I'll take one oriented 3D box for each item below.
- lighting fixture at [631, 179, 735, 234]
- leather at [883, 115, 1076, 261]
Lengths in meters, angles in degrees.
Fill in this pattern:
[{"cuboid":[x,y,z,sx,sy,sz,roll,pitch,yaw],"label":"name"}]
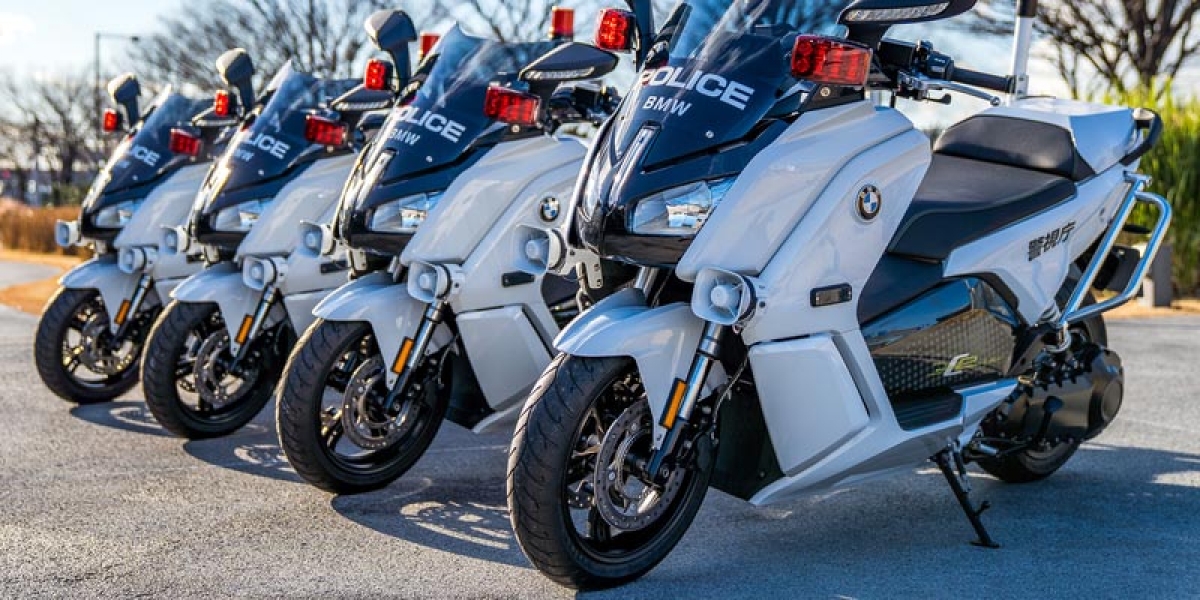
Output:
[{"cuboid":[0.498,-0.583,7.289,0.460,0.158,0.419,-8,-7,-7],"label":"lighting fixture"},{"cuboid":[2.664,-0.774,7.826,0.855,0.406,1.418,17,40,39],"label":"leather"}]
